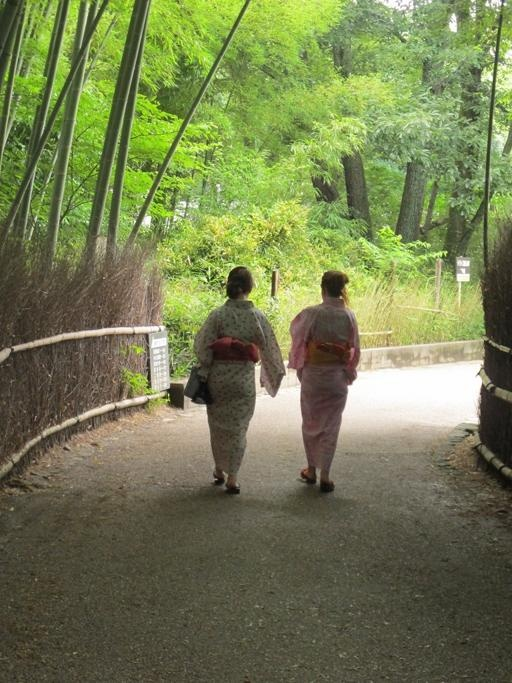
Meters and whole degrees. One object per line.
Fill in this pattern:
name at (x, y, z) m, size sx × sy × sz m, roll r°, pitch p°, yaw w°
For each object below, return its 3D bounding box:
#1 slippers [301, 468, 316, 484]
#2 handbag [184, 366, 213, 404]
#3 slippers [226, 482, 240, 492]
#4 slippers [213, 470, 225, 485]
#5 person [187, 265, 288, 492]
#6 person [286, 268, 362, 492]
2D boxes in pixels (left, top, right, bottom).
slippers at (0.363, 0.929, 3.928) m, size 0.054 × 0.060 × 0.147 m, roll 2°, pitch 5°, yaw -10°
handbag at (-0.380, 0.342, 3.777) m, size 0.208 × 0.358 × 0.344 m, roll 0°, pitch 1°, yaw -7°
slippers at (-0.152, 0.931, 3.588) m, size 0.090 × 0.055 × 0.111 m, roll 1°, pitch 1°, yaw -3°
slippers at (-0.255, 0.916, 3.808) m, size 0.088 × 0.082 × 0.232 m, roll 1°, pitch -12°, yaw -3°
person at (-0.116, 0.237, 3.778) m, size 0.344 × 1.450 × 0.585 m, roll 2°, pitch 2°, yaw 39°
person at (0.446, 0.243, 3.901) m, size 0.416 × 1.460 × 0.393 m, roll 2°, pitch 2°, yaw 42°
